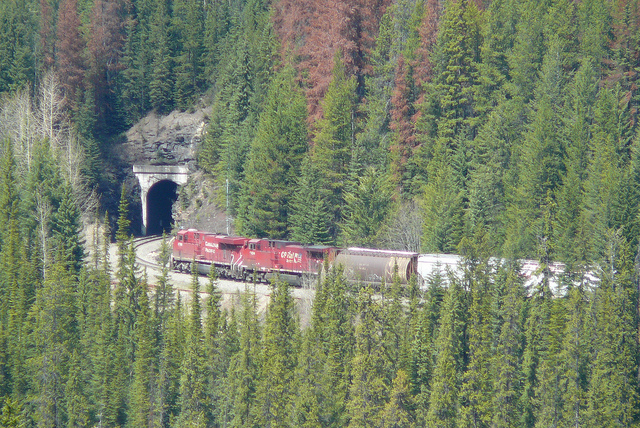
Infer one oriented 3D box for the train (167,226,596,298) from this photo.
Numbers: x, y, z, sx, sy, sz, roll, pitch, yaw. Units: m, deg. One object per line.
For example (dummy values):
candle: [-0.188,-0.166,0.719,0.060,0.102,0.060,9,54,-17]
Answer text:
train: [7.122,7.281,220.120,57.998,7.612,9.124,5,11,27]
